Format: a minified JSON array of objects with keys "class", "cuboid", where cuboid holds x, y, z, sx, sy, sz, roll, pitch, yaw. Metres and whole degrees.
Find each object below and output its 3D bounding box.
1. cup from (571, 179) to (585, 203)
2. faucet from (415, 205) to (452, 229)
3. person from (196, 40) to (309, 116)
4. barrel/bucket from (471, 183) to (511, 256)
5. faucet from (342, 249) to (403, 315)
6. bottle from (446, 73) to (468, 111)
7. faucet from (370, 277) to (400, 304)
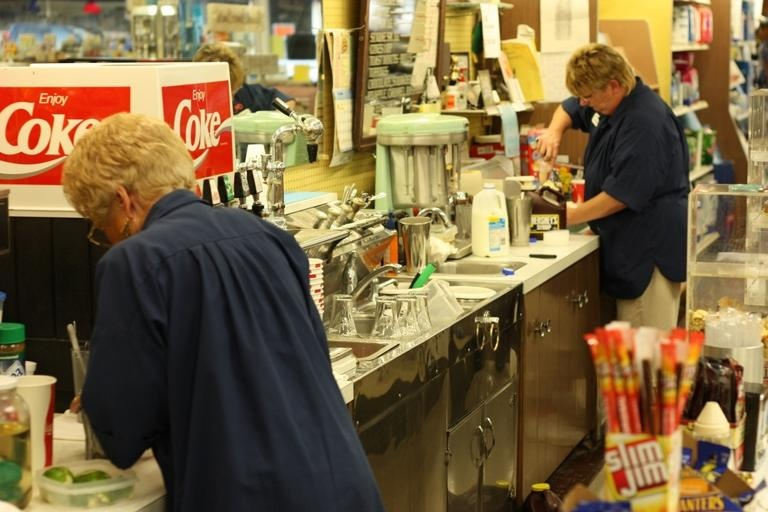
[{"class":"cup","cuboid":[1.312,-0.441,4.999,0.113,0.203,0.121,-3,3,0]},{"class":"faucet","cuboid":[0.297,-0.219,4.139,0.095,0.156,0.168,-1,10,-16]},{"class":"person","cuboid":[-0.713,-0.938,3.848,0.477,0.442,0.858,-6,8,-18]},{"class":"barrel/bucket","cuboid":[0.603,-0.211,4.247,0.214,0.416,0.167,-2,7,6]},{"class":"faucet","cuboid":[-0.017,0.115,3.334,0.482,0.213,0.103,-18,-14,40]},{"class":"bottle","cuboid":[0.505,-1.147,5.151,0.183,0.263,0.065,-8,9,-34]},{"class":"faucet","cuboid":[0.003,0.157,3.303,0.111,0.079,0.168,0,2,1]}]
